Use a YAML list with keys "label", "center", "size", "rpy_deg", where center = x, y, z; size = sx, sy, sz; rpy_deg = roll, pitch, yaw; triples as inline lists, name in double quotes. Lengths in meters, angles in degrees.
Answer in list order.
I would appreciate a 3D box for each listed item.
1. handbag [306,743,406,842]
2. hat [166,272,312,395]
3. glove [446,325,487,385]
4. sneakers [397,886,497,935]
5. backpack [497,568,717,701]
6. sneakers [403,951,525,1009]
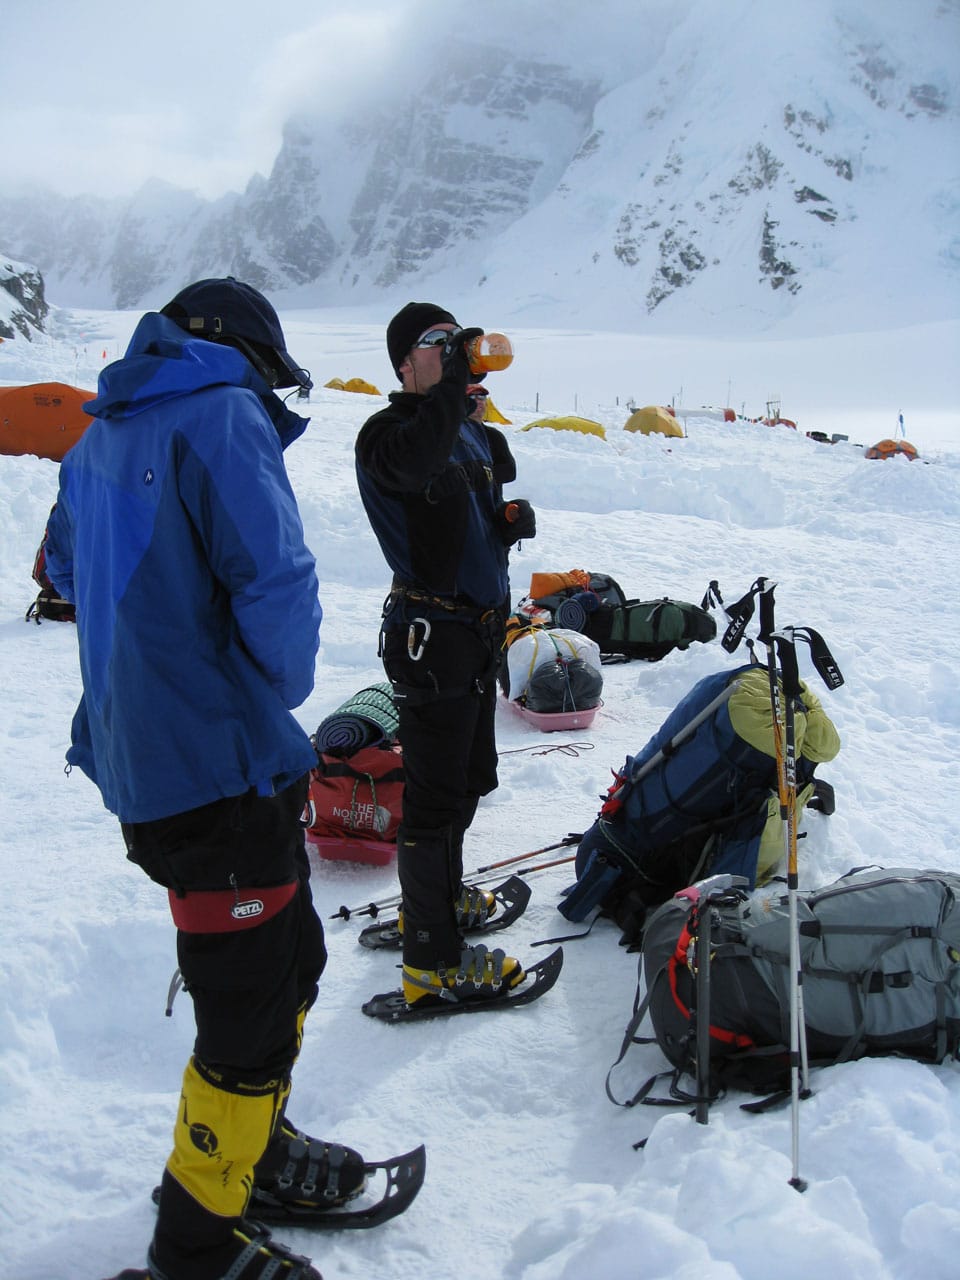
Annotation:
- label: "handbag"
  center: [-0.463, 0.640, 4.930]
  size: [0.493, 0.410, 0.256]
  rpy_deg: [4, 7, 24]
- label: "hat"
  center: [-0.535, -0.674, 2.646]
  size: [0.370, 0.187, 0.209]
  rpy_deg: [12, -1, -15]
- label: "glove"
  center: [-0.047, -0.772, 3.340]
  size: [0.124, 0.150, 0.149]
  rpy_deg: [-1, 34, 2]
- label: "sneakers"
  center: [-0.102, 0.926, 4.212]
  size: [0.155, 0.196, 0.472]
  rpy_deg: [-2, -8, 7]
- label: "backpack"
  center: [0.952, -0.035, 8.495]
  size: [1.271, 0.453, 0.857]
  rpy_deg: [2, 7, 3]
- label: "sneakers"
  center: [-0.049, 1.019, 3.685]
  size: [0.328, 0.121, 0.149]
  rpy_deg: [-7, 37, -15]
